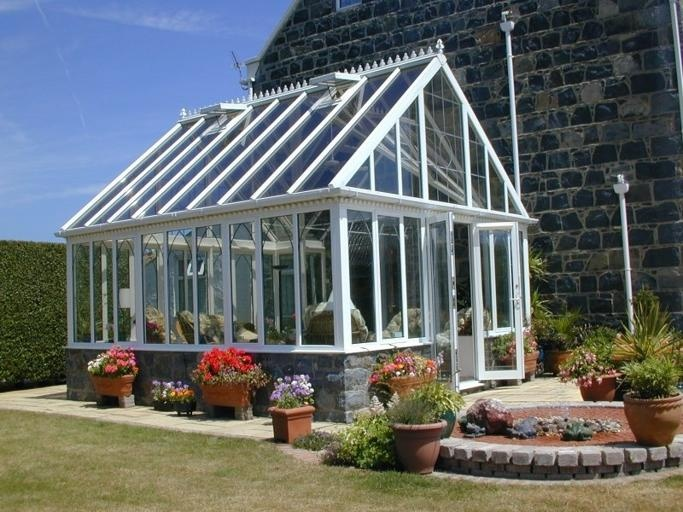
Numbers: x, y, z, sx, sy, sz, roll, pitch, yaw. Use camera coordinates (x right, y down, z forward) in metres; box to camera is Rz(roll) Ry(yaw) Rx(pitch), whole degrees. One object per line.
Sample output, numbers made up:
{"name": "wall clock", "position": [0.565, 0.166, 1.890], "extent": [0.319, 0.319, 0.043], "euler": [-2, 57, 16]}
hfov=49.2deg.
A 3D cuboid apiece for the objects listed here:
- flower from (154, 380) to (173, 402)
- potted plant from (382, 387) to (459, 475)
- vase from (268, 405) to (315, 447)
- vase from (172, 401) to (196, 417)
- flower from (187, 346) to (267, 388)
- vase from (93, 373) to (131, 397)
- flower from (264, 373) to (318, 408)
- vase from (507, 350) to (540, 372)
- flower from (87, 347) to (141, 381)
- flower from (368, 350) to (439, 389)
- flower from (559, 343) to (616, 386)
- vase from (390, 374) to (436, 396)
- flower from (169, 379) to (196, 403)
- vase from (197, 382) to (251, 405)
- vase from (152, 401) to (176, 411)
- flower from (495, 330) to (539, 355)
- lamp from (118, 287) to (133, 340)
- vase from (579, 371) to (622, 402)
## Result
{"name": "flower", "position": [-3.497, 2.621, 14.544], "extent": [0.405, 0.422, 0.396], "euler": [-3, 2, -2]}
{"name": "potted plant", "position": [1.016, 2.316, 10.123], "extent": [0.984, 1.058, 0.997], "euler": [0, -9, 2]}
{"name": "vase", "position": [-0.776, 2.599, 11.714], "extent": [0.505, 0.514, 0.648], "euler": [-3, -3, 40]}
{"name": "vase", "position": [-2.955, 2.853, 14.078], "extent": [0.399, 0.275, 0.344], "euler": [0, -8, -13]}
{"name": "flower", "position": [-2.021, 2.014, 13.366], "extent": [0.845, 0.455, 0.860], "euler": [4, -4, -2]}
{"name": "vase", "position": [-4.628, 2.645, 15.204], "extent": [0.917, 0.452, 0.444], "euler": [-5, -9, 19]}
{"name": "flower", "position": [-0.811, 2.201, 12.108], "extent": [0.615, 0.453, 0.629], "euler": [0, -6, -9]}
{"name": "vase", "position": [3.936, 2.301, 16.120], "extent": [0.628, 0.445, 0.646], "euler": [-2, -2, 13]}
{"name": "flower", "position": [-4.657, 2.171, 15.198], "extent": [0.727, 0.505, 0.674], "euler": [0, -2, 40]}
{"name": "flower", "position": [1.041, 1.930, 13.036], "extent": [0.772, 0.379, 0.636], "euler": [0, -3, -33]}
{"name": "flower", "position": [4.266, 1.862, 13.003], "extent": [0.706, 0.526, 0.701], "euler": [5, -9, -44]}
{"name": "vase", "position": [1.235, 2.171, 12.902], "extent": [0.695, 0.252, 0.436], "euler": [4, -13, -39]}
{"name": "flower", "position": [-3.059, 2.589, 14.251], "extent": [0.383, 0.299, 0.415], "euler": [-5, 4, -39]}
{"name": "vase", "position": [-2.082, 2.505, 13.441], "extent": [0.965, 0.428, 0.339], "euler": [-6, -9, 25]}
{"name": "vase", "position": [-3.447, 2.898, 14.480], "extent": [0.306, 0.114, 0.275], "euler": [2, -3, -3]}
{"name": "flower", "position": [3.579, 1.787, 15.429], "extent": [0.622, 0.331, 0.623], "euler": [-6, 6, -20]}
{"name": "lamp", "position": [-4.510, 1.192, 15.533], "extent": [0.518, 1.068, 0.163], "euler": [-8, -11, 40]}
{"name": "vase", "position": [4.473, 2.263, 12.924], "extent": [0.567, 0.413, 0.564], "euler": [0, -2, -37]}
